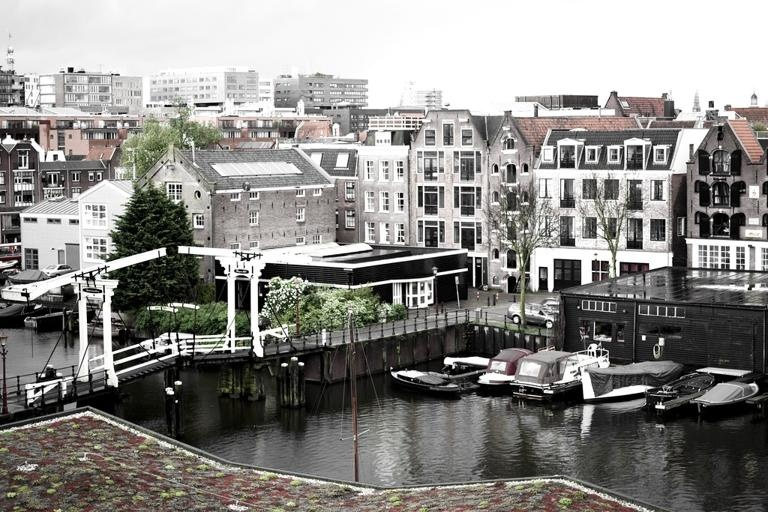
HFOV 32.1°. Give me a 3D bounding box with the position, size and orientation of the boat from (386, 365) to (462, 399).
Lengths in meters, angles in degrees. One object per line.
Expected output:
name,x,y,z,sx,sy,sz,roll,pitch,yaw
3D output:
boat,3.264,10.183,108.029,5.910,1.741,2.139,10,14,38

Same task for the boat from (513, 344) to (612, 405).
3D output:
boat,14.276,9.494,108.362,8.220,2.882,4.538,-5,7,-42

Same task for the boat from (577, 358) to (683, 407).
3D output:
boat,20.090,9.832,106.199,8.120,2.591,3.978,-6,6,-12

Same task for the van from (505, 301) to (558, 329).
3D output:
van,13.073,5.364,118.413,4.049,1.350,1.930,2,7,18

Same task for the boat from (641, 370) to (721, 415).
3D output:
boat,22.783,10.916,102.986,4.061,3.266,7.525,0,-1,16
